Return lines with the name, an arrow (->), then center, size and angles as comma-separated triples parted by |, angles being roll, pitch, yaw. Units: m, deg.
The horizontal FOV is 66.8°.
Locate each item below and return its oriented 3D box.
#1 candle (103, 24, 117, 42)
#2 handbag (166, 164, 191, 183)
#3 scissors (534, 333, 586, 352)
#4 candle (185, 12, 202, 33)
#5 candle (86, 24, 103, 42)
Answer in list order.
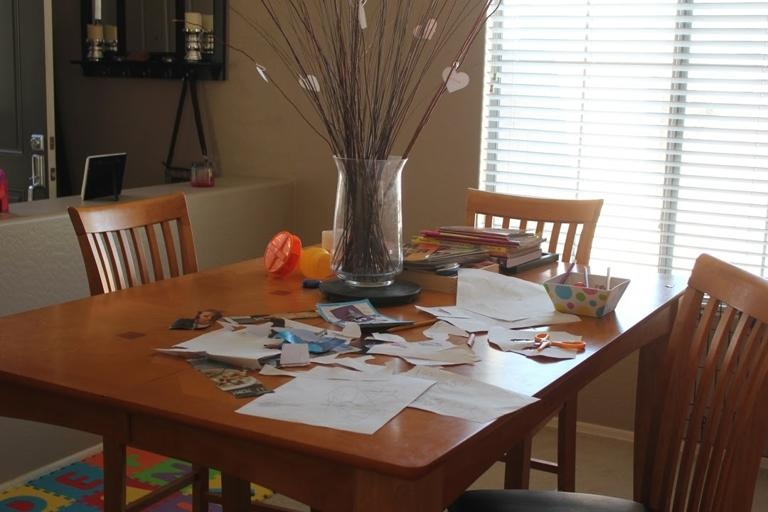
candle -> -1.768, -1.432, 3.763 | 0.113, 0.118, 0.108 | -8, 21, -30
handbag -> -1.310, -0.516, 3.686 | 0.152, 0.133, 0.039 | 4, -4, 4
scissors -> 0.429, 0.200, 1.415 | 0.089, 0.020, 0.051 | 5, 12, 28
candle -> -1.127, -1.378, 3.465 | 0.111, 0.110, 0.107 | 4, 15, 6
candle -> -1.866, -1.436, 3.770 | 0.116, 0.120, 0.113 | -10, 21, -35
